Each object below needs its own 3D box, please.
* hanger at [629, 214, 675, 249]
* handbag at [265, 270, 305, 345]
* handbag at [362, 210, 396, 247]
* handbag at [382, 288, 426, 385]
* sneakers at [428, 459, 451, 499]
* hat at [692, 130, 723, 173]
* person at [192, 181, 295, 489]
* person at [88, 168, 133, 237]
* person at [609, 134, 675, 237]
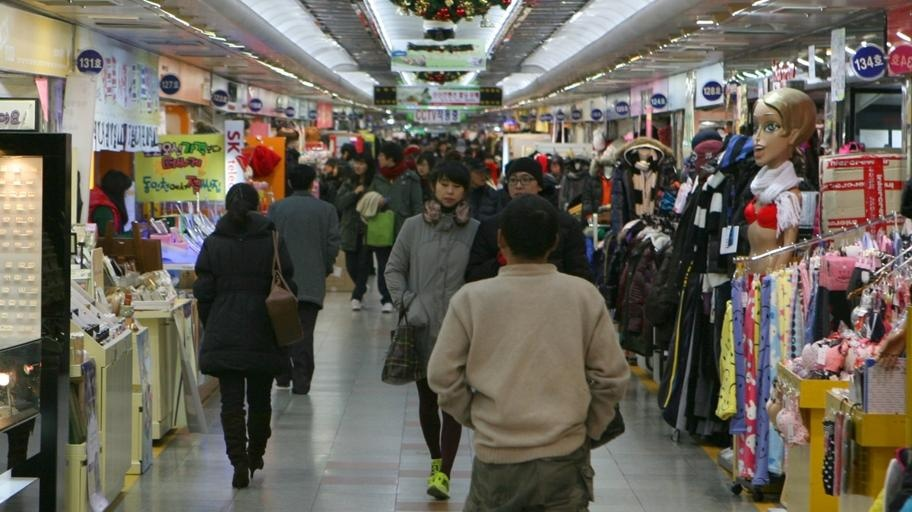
[{"bbox_3d":[2.133,-0.270,7.513,0.365,0.127,0.365,0,29,29],"label":"hanger"},{"bbox_3d":[-1.330,0.427,5.417,0.258,0.612,0.276,-2,9,-15],"label":"handbag"},{"bbox_3d":[-1.088,-0.408,10.140,0.526,0.608,0.233,4,3,7],"label":"handbag"},{"bbox_3d":[-0.378,0.634,5.153,0.304,0.701,0.235,0,9,-5],"label":"handbag"},{"bbox_3d":[-0.129,1.698,5.249,0.128,0.155,0.342,1,-12,3],"label":"sneakers"},{"bbox_3d":[2.395,-1.002,6.720,0.246,0.431,1.167,4,10,18],"label":"hat"},{"bbox_3d":[-1.638,0.611,5.471,0.743,2.308,0.489,-2,9,-16],"label":"person"},{"bbox_3d":[-4.028,-0.563,8.207,0.427,0.802,1.917,-3,11,-24],"label":"person"},{"bbox_3d":[2.411,-0.827,8.957,0.851,1.467,0.528,-1,28,9],"label":"person"}]
